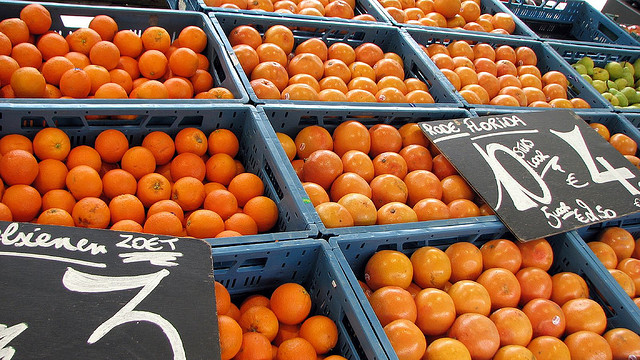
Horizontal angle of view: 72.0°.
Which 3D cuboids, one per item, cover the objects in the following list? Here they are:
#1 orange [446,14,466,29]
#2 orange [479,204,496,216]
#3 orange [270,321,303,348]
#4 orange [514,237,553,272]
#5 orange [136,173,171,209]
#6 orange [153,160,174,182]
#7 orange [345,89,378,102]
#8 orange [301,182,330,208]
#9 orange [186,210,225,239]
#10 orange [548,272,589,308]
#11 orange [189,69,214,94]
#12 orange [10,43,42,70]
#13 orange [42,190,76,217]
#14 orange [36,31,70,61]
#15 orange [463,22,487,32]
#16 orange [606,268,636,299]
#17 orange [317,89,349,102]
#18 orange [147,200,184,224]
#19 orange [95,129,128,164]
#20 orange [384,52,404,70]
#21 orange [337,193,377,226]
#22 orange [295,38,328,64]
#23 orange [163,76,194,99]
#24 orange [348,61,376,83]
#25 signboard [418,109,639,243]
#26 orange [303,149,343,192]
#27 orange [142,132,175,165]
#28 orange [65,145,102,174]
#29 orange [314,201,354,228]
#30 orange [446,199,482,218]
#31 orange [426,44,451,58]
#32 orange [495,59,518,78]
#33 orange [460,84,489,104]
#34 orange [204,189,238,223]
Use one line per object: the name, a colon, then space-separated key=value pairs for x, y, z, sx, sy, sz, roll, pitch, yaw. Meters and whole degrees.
orange: x=1.506 y=-1.758 z=4.878 sx=0.156 sy=0.155 sz=0.190 roll=22 pitch=17 yaw=33
orange: x=1.229 y=0.219 z=3.270 sx=0.070 sy=0.077 sz=0.056 roll=-12 pitch=1 yaw=14
orange: x=-0.193 y=0.917 z=2.629 sx=0.153 sy=0.152 sz=0.179 roll=3 pitch=42 yaw=-3
orange: x=1.487 y=0.513 z=3.146 sx=0.231 sy=0.225 sz=0.227 roll=7 pitch=39 yaw=3
orange: x=-1.143 y=0.052 z=3.055 sx=0.239 sy=0.231 sz=0.235 roll=-1 pitch=14 yaw=-38
orange: x=-1.092 y=-0.077 z=3.191 sx=0.140 sy=0.137 sz=0.164 roll=9 pitch=8 yaw=-11
orange: x=0.344 y=-0.708 z=3.704 sx=0.148 sy=0.082 sz=0.151 roll=17 pitch=-3 yaw=33
orange: x=-0.028 y=0.091 z=3.090 sx=0.162 sy=0.160 sz=0.192 roll=-14 pitch=63 yaw=-22
orange: x=-0.737 y=0.258 z=2.802 sx=0.225 sy=0.183 sz=0.185 roll=0 pitch=20 yaw=-14
orange: x=1.644 y=0.717 z=3.047 sx=0.239 sy=0.234 sz=0.227 roll=-1 pitch=25 yaw=-3
orange: x=-0.982 y=-0.841 z=3.730 sx=0.194 sy=0.192 sz=0.222 roll=-9 pitch=89 yaw=-28
orange: x=-2.217 y=-0.952 z=3.369 sx=0.182 sy=0.199 sz=0.167 roll=-6 pitch=45 yaw=-15
orange: x=-1.648 y=0.126 z=2.806 sx=0.166 sy=0.162 sz=0.187 roll=5 pitch=48 yaw=-25
orange: x=-2.079 y=-1.049 z=3.480 sx=0.199 sy=0.223 sz=0.194 roll=-7 pitch=10 yaw=-23
orange: x=1.674 y=-1.673 z=4.793 sx=0.177 sy=0.151 sz=0.153 roll=6 pitch=32 yaw=19
orange: x=2.065 y=0.726 z=3.043 sx=0.157 sy=0.154 sz=0.150 roll=19 pitch=25 yaw=18
orange: x=0.115 y=-0.699 z=3.686 sx=0.167 sy=0.091 sz=0.138 roll=12 pitch=4 yaw=-17
orange: x=-0.997 y=0.180 z=2.859 sx=0.167 sy=0.158 sz=0.158 roll=-3 pitch=30 yaw=-13
orange: x=-1.473 y=-0.227 z=3.135 sx=0.234 sy=0.233 sz=0.225 roll=6 pitch=81 yaw=-25
orange: x=0.694 y=-1.179 z=4.298 sx=0.180 sy=0.176 sz=0.213 roll=1 pitch=25 yaw=-2
orange: x=0.251 y=0.201 z=3.019 sx=0.222 sy=0.214 sz=0.215 roll=10 pitch=56 yaw=-10
orange: x=-0.060 y=-1.205 z=4.130 sx=0.232 sy=0.232 sz=0.227 roll=-34 pitch=25 yaw=-31
orange: x=-1.111 y=-0.720 z=3.503 sx=0.210 sy=0.204 sz=0.190 roll=7 pitch=10 yaw=-21
orange: x=0.385 y=-0.998 z=4.090 sx=0.186 sy=0.181 sz=0.210 roll=-1 pitch=64 yaw=-15
signboard: x=1.705 y=-0.129 z=3.452 sx=1.572 sy=0.188 sz=1.147 roll=-8 pitch=52 yaw=-22
orange: x=0.025 y=-0.059 z=3.193 sx=0.227 sy=0.186 sz=0.196 roll=40 pitch=64 yaw=-20
orange: x=-1.113 y=-0.250 z=3.152 sx=0.232 sy=0.215 sz=0.220 roll=-10 pitch=52 yaw=-25
orange: x=-1.562 y=-0.150 z=3.006 sx=0.193 sy=0.186 sz=0.223 roll=-2 pitch=72 yaw=-17
orange: x=0.098 y=0.232 z=2.907 sx=0.179 sy=0.211 sz=0.176 roll=-25 pitch=78 yaw=-1
orange: x=1.047 y=0.209 z=3.181 sx=0.154 sy=0.148 sz=0.147 roll=1 pitch=31 yaw=-4
orange: x=1.189 y=-1.326 z=4.437 sx=0.157 sy=0.154 sz=0.184 roll=2 pitch=0 yaw=-11
orange: x=1.848 y=-1.144 z=4.477 sx=0.196 sy=0.193 sz=0.231 roll=4 pitch=33 yaw=3
orange: x=1.425 y=-0.811 z=4.145 sx=0.204 sy=0.200 sz=0.234 roll=5 pitch=42 yaw=-4
orange: x=-0.657 y=0.167 z=3.031 sx=0.200 sy=0.231 sz=0.204 roll=-14 pitch=-1 yaw=15
